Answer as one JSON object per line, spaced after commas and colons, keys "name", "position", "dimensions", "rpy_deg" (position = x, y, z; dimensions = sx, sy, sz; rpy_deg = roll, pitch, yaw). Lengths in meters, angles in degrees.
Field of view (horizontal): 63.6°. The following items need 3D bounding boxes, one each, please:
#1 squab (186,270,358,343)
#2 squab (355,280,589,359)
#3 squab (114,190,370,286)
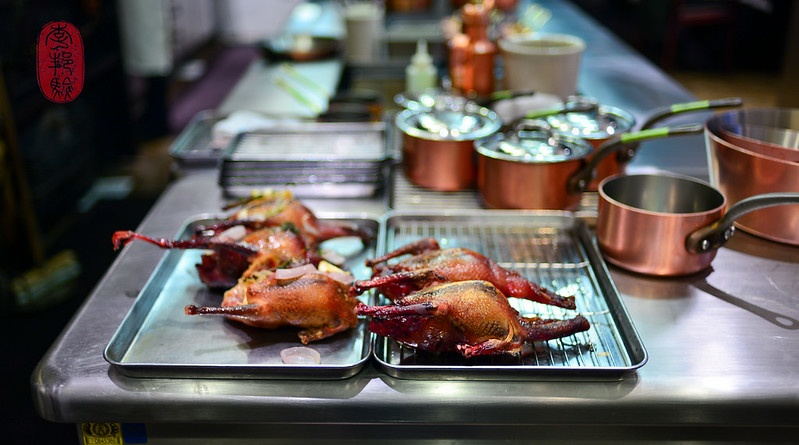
{"name": "squab", "position": [-0.402, 0.273, 2.110], "dimensions": [0.534, 0.199, 0.189], "rpy_deg": [-2, 31, -3]}
{"name": "squab", "position": [0.241, 0.316, 2.086], "dimensions": [0.769, 0.217, 0.295], "rpy_deg": [4, 5, -7]}
{"name": "squab", "position": [-0.611, 0.078, 2.273], "dimensions": [0.741, 0.181, 0.383], "rpy_deg": [11, -19, -28]}
